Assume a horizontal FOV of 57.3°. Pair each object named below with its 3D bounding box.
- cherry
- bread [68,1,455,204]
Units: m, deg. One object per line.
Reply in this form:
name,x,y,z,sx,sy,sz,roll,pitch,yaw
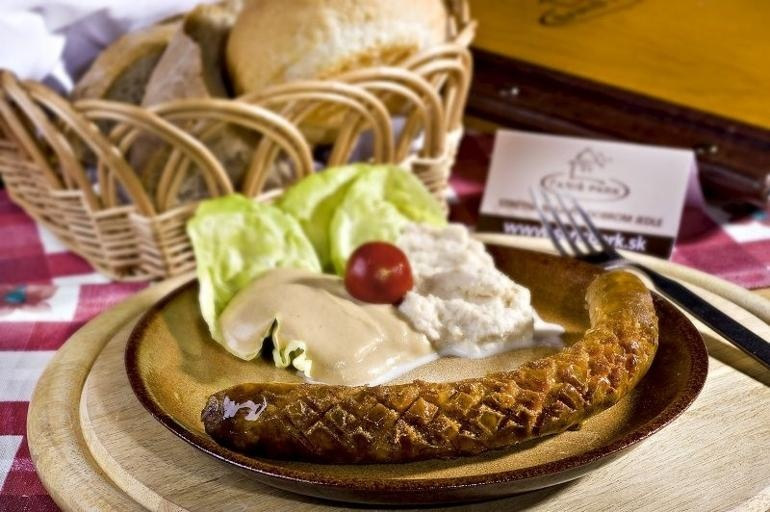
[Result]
cherry,-0.012,0.037,1.369,0.114,0.124,0.122,-6,63,-1
bread,-0.296,-0.348,1.580,0.285,0.407,0.230,-32,16,16
